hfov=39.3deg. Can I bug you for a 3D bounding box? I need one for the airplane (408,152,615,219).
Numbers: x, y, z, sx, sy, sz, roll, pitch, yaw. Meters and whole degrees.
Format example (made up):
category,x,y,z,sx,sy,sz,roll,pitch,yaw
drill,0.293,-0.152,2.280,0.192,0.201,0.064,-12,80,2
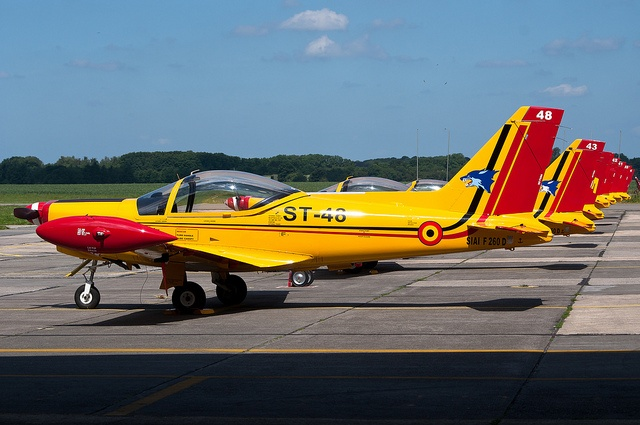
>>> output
category,x,y,z,sx,sy,sz,roll,pitch,yaw
airplane,7.279,-1.343,38.032,8.528,2.472,7.483,1,5,21
